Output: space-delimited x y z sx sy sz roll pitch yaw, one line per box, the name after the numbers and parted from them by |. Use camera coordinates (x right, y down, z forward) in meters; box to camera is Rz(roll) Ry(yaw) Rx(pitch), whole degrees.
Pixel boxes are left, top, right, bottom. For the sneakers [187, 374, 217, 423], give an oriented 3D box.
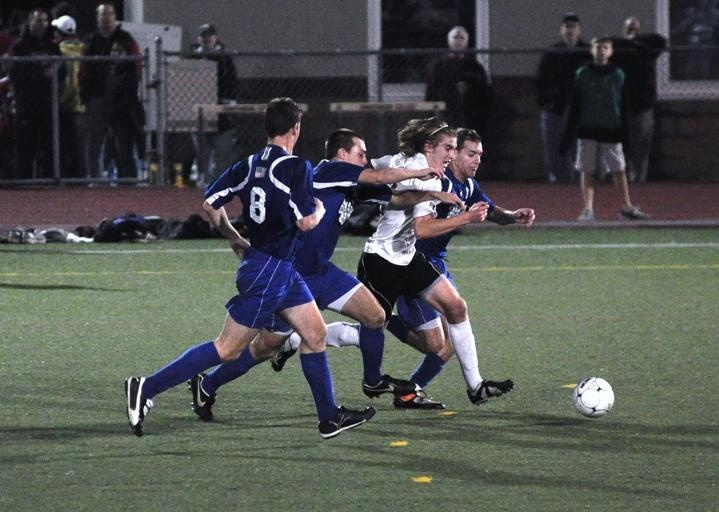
-1.321 1.228 12.660 0.231 0.442 0.170 -7 11 18 | sneakers

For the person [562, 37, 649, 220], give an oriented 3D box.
3.583 -1.860 21.344 1.162 2.693 1.376 2 14 11 | person

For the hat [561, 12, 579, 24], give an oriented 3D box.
3.242 -3.615 22.359 0.335 0.172 0.459 1 8 8 | hat

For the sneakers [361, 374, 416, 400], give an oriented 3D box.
0.282 1.143 12.926 0.516 0.219 0.181 -6 -3 8 | sneakers

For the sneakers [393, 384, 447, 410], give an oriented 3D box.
0.510 1.247 12.877 0.573 0.243 0.175 -1 -1 0 | sneakers

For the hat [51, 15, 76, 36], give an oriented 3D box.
-4.792 -3.739 23.630 0.320 0.230 0.417 -18 35 -38 | hat

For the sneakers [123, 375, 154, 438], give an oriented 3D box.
-1.861 1.257 12.326 0.248 0.502 0.172 -8 -1 -10 | sneakers

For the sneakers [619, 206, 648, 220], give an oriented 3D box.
4.024 -0.628 21.312 0.432 0.160 0.158 4 29 18 | sneakers

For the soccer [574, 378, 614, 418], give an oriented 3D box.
2.021 1.207 12.595 0.338 0.326 0.223 1 13 7 | soccer
